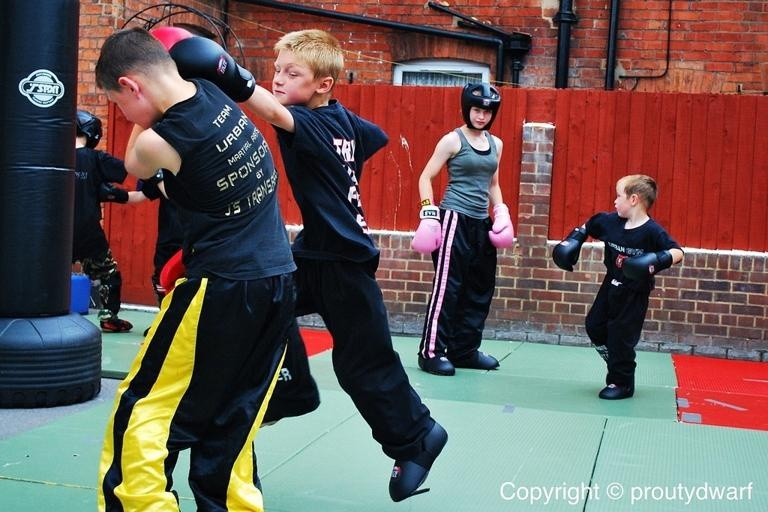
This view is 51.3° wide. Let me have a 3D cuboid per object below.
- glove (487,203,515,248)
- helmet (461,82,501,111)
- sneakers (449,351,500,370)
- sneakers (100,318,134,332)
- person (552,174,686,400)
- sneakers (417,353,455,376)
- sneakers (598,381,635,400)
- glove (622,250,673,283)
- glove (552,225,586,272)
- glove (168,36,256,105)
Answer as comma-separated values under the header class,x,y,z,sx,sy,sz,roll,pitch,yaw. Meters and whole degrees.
class,x,y,z,sx,sy,sz,roll,pitch,yaw
glove,1.173,-0.291,8.175,0.334,0.425,0.179,-10,-21,-6
helmet,0.930,-1.560,7.905,0.285,0.264,0.351,5,13,-31
sneakers,0.962,1.091,8.327,0.565,0.224,0.185,-2,2,1
sneakers,-3.061,0.799,9.262,0.372,0.159,0.138,2,13,-15
person,2.138,0.272,7.281,0.521,2.013,1.017,-3,9,-29
sneakers,0.544,1.106,7.999,0.167,0.128,0.311,2,-4,-42
sneakers,2.123,1.225,7.236,0.280,0.095,0.141,3,1,-20
glove,2.275,0.057,6.871,0.345,0.145,0.247,-21,27,-29
glove,1.775,-0.062,7.664,0.290,0.438,0.192,20,-15,18
glove,-0.920,-1.102,4.612,0.486,0.224,0.317,29,36,-32
